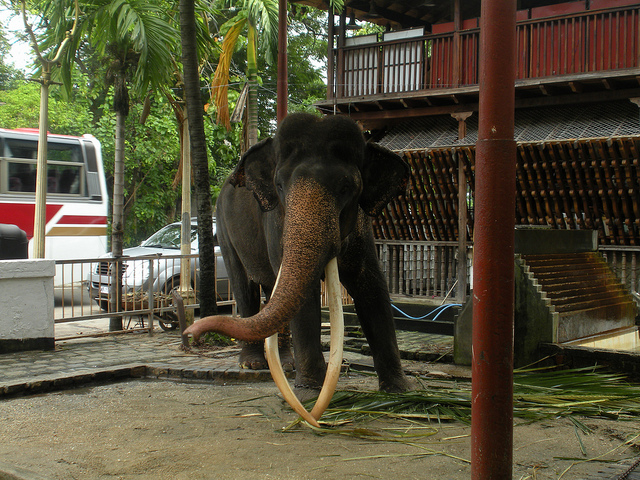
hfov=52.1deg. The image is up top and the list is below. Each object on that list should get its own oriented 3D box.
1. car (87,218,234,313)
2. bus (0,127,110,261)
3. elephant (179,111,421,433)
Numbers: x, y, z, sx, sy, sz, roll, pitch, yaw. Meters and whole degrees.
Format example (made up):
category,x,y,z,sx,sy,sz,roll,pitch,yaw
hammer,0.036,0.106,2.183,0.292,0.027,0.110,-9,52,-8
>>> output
category,x,y,z,sx,sy,sz,roll,pitch,yaw
car,-3.426,0.360,13.699,3.353,1.812,1.824,6,-8,-42
bus,-6.554,-1.143,16.214,2.613,3.240,0.882,0,-2,-44
elephant,-0.067,0.273,6.434,1.768,2.921,4.074,-1,-2,-8
